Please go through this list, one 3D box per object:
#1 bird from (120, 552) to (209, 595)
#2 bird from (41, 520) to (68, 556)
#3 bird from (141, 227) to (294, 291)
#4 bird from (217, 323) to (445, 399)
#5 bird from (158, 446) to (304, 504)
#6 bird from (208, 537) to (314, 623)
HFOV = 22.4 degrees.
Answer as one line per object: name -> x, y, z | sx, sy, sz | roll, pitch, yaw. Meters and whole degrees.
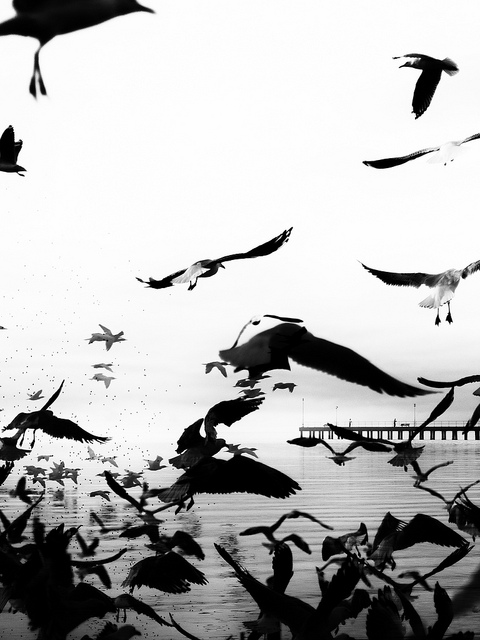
bird -> -0.456, 1.475, 7.017 | 0.251, 0.146, 0.372 | 25, -11, -37
bird -> -1.048, 1.209, 6.827 | 0.136, 0.176, 0.489 | 4, -1, -9
bird -> -0.140, -0.397, 7.643 | 0.482, 0.347, 0.810 | 3, -2, 43
bird -> 0.445, 0.221, 7.378 | 1.239, 0.357, 0.363 | 3, -2, 36
bird -> -0.060, 0.940, 7.207 | 0.828, 0.291, 0.449 | 4, -2, 3
bird -> 0.123, 1.664, 7.658 | 0.520, 0.346, 0.758 | -16, -1, -9
